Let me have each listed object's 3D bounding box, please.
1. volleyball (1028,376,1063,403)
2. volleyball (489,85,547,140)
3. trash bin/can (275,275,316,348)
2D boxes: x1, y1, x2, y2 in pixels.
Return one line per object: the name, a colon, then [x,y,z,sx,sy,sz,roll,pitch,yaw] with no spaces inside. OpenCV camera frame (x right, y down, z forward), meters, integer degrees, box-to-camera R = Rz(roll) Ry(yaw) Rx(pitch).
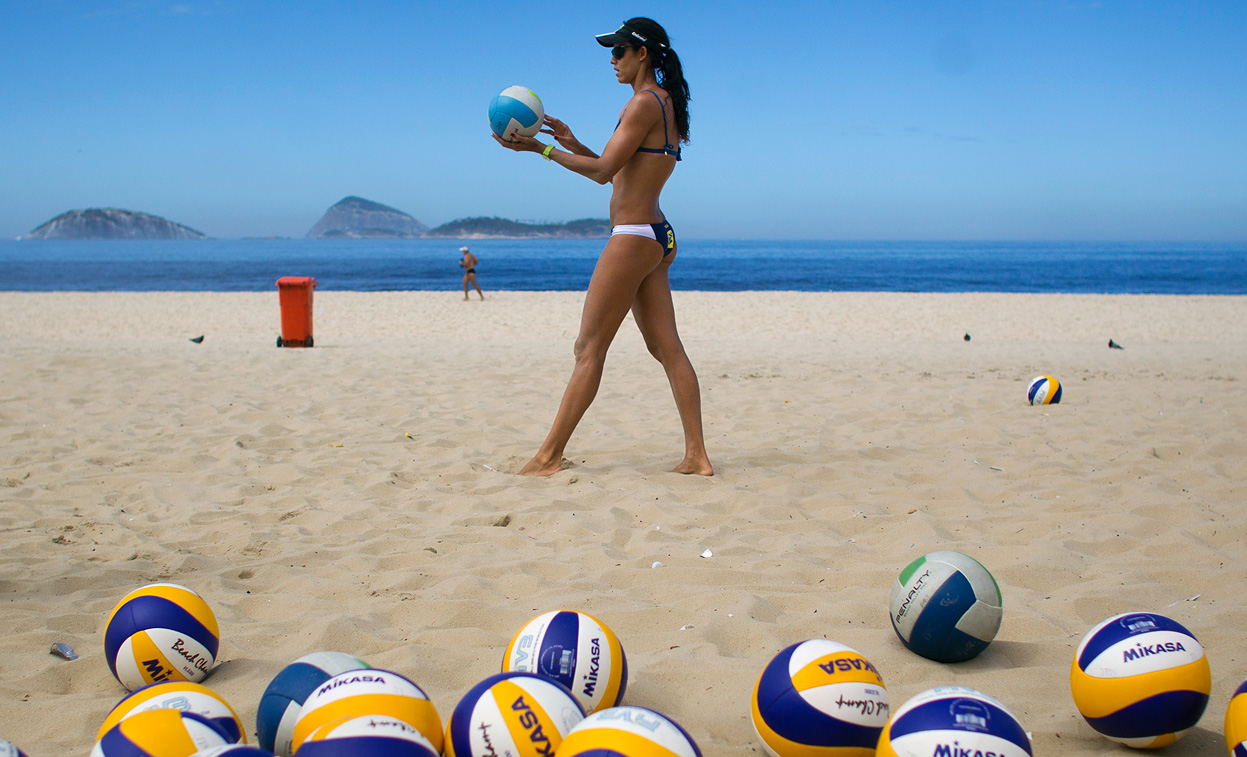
volleyball: [4.162,0.105,10.136,0.298,0.259,0.293,3,10,19]
volleyball: [-0.780,-1.963,7.516,0.386,0.371,0.456,-1,9,-4]
trash bin/can: [-4.748,-0.986,14.774,0.515,0.976,0.863,-3,10,-18]
